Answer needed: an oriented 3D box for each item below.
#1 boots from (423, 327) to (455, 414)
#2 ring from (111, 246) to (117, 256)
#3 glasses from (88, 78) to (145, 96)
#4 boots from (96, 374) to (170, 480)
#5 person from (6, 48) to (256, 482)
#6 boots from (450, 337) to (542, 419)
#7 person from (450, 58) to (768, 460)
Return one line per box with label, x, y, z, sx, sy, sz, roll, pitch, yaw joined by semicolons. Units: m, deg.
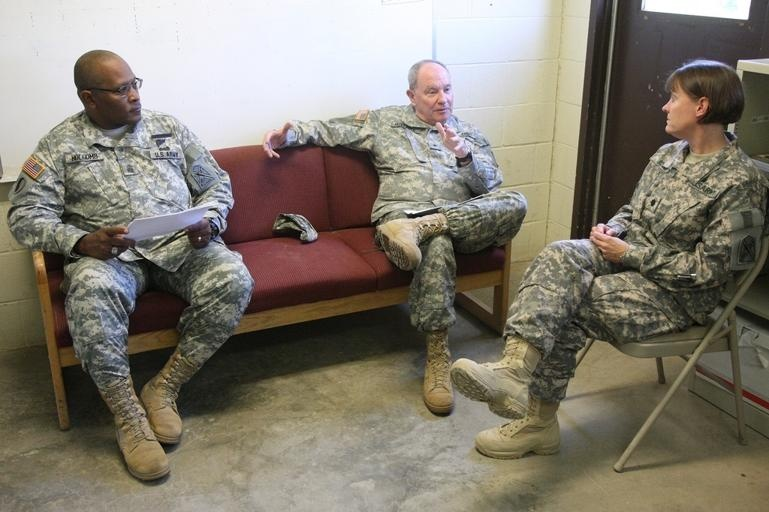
boots;0.257;0.580;2.806;0.157;0.235;0.396;0;29;4
ring;-1.215;-0.021;2.566;0.035;0.041;0.007;-8;25;-5
glasses;-1.254;-0.800;2.709;0.120;0.070;0.249;14;28;39
boots;-1.067;0.667;2.567;0.201;0.270;0.602;-22;46;-18
person;-1.105;-0.045;2.640;1.016;1.720;1.075;-18;26;-23
boots;0.449;0.458;2.343;0.168;0.349;0.314;-37;24;51
person;0.916;0.045;2.445;1.284;1.575;0.537;-11;25;-11
